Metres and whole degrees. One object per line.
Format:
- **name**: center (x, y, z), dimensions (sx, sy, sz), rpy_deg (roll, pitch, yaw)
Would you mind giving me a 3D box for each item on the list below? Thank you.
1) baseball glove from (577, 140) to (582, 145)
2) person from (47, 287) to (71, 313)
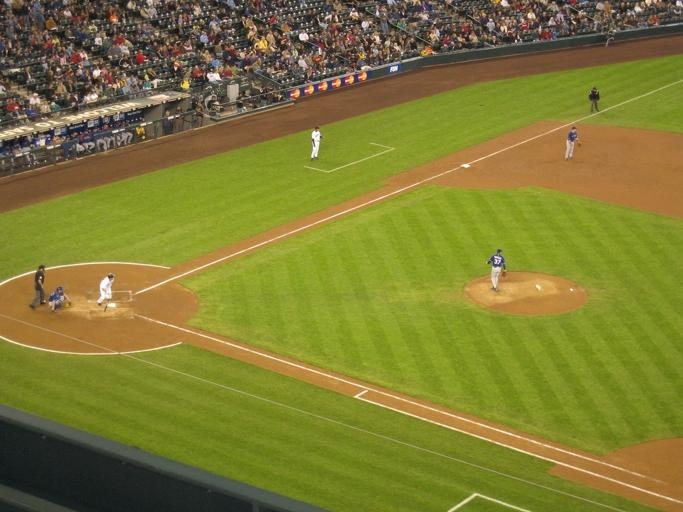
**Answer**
- **baseball glove**: center (12.724, -6.106, 65.622), dimensions (0.194, 0.130, 0.589), rpy_deg (-30, 3, 24)
- **person**: center (-11.524, 1.792, 49.837), dimensions (0.594, 1.188, 0.961), rpy_deg (12, 19, 38)
